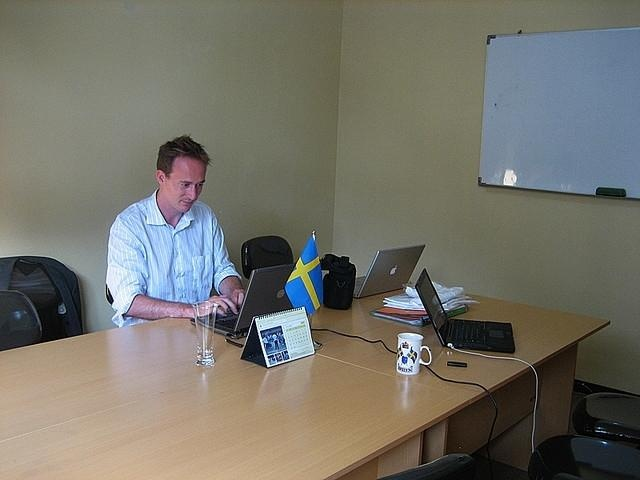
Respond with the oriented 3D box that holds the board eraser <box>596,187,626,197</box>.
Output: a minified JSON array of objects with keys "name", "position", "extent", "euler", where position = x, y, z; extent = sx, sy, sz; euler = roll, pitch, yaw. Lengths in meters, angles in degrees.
[{"name":"board eraser","position":[2.199,-0.362,3.543],"extent":[0.198,0.074,0.041],"euler":[9,14,22]}]

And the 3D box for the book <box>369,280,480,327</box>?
[{"name":"book","position":[0.558,0.346,2.504],"extent":[0.271,0.119,0.354],"euler":[10,14,43]}]

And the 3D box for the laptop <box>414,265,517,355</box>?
[{"name":"laptop","position":[0.660,0.361,2.152],"extent":[0.369,0.270,0.410],"euler":[0,9,7]}]

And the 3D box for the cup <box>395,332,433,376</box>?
[{"name":"cup","position":[0.350,0.441,1.872],"extent":[0.170,0.170,0.110],"euler":[5,4,31]}]

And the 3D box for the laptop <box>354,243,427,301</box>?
[{"name":"laptop","position":[0.403,0.177,2.726],"extent":[0.297,0.261,0.387],"euler":[27,26,37]}]
